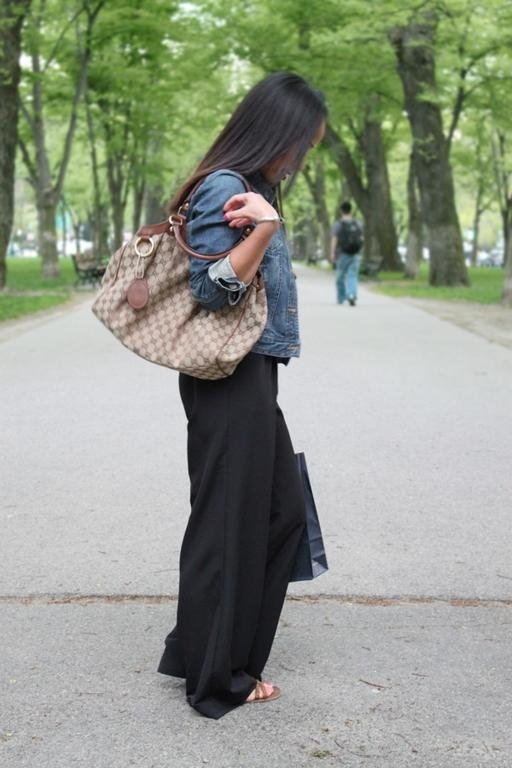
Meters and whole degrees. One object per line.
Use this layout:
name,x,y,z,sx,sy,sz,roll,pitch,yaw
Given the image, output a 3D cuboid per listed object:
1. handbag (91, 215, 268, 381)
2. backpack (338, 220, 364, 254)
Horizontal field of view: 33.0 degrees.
handbag,-0.241,-0.270,2.266,0.415,0.394,0.190,23,34,29
backpack,1.505,-2.333,13.766,0.387,0.500,0.517,1,23,9
